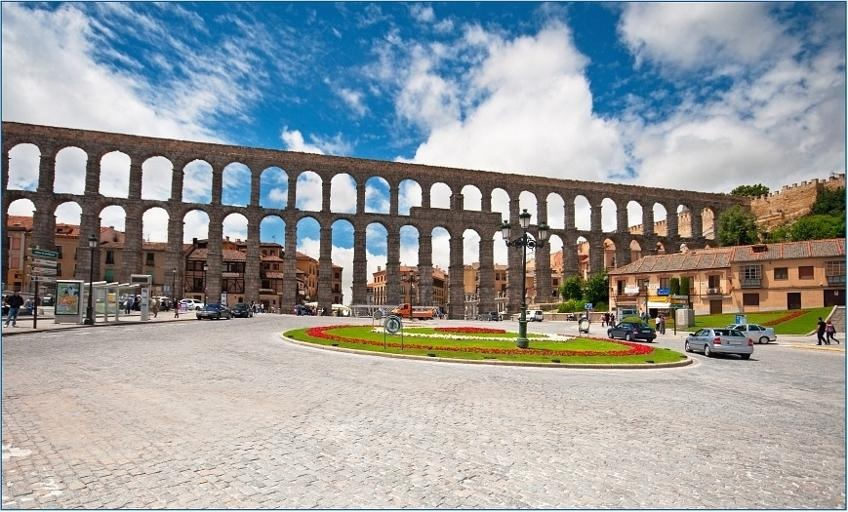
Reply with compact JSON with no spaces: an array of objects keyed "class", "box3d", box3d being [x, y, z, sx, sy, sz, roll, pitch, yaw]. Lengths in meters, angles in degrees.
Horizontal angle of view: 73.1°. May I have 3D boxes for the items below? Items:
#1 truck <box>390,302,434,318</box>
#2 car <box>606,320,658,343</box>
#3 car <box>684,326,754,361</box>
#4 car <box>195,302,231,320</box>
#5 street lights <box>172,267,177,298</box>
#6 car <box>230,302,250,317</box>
[{"class":"truck","box3d":[-1.003,5.912,62.727,5.942,1.758,2.389,8,-15,-32]},{"class":"car","box3d":[13.371,4.990,38.107,1.462,0.857,2.914,2,-2,-9]},{"class":"car","box3d":[14.674,4.414,29.370,1.549,0.813,3.075,2,-3,5]},{"class":"car","box3d":[-17.815,4.840,49.186,1.422,0.775,2.852,-1,-11,-1]},{"class":"street lights","box3d":[-28.546,3.208,66.156,0.551,3.542,0.817,-1,1,-22]},{"class":"car","box3d":[-18.039,5.347,56.767,1.396,0.882,2.943,1,-8,-16]}]
